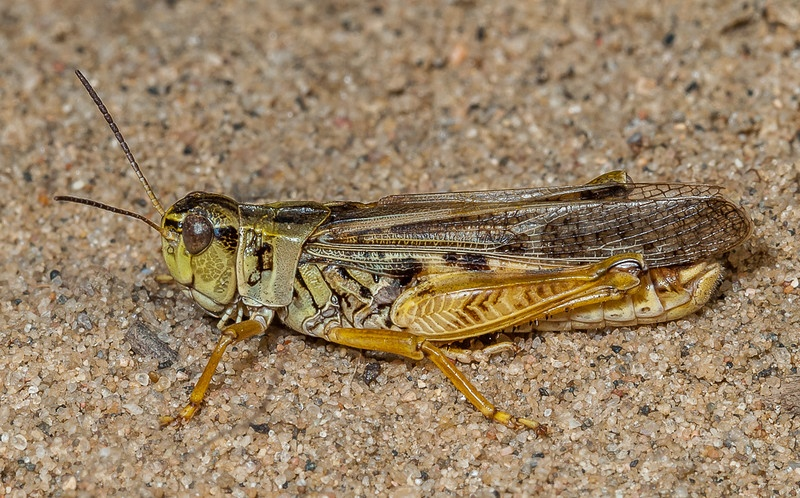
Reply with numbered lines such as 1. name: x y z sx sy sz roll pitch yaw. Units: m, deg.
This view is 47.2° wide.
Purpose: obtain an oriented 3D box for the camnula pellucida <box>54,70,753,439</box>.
1. camnula pellucida: 0.209 0.022 4.374 3.350 1.191 1.301 2 35 0
